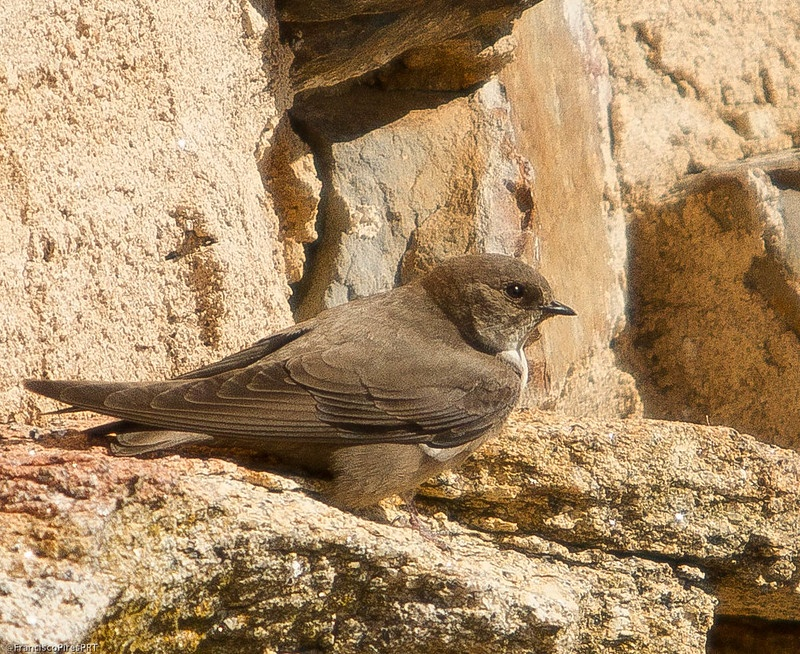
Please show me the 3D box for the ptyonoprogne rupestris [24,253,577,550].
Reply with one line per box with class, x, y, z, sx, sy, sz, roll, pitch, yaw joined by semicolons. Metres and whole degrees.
ptyonoprogne rupestris;-0.343;0.289;12.270;2.303;1.278;0.787;0;14;-2
